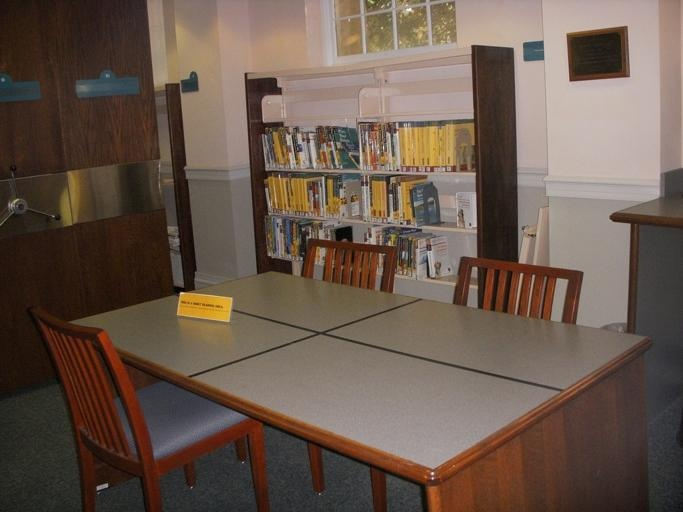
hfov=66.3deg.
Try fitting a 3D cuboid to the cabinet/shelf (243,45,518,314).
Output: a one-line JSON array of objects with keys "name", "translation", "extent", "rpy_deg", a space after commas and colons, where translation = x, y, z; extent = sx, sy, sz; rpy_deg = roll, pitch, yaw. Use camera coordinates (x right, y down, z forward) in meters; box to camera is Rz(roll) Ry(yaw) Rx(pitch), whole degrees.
[{"name": "cabinet/shelf", "translation": [0.240, -0.706, 4.208], "extent": [1.825, 1.754, 0.462], "rpy_deg": [1, 2, 12]}]
